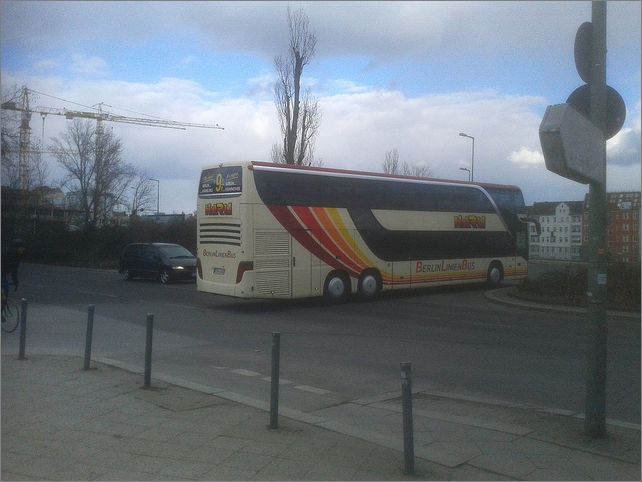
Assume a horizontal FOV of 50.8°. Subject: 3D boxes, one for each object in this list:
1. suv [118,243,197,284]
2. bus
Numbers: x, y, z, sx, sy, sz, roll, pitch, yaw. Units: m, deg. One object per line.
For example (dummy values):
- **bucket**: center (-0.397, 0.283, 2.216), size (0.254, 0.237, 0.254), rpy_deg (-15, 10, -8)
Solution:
- **suv**: center (-7.464, 0.972, 30.989), size (4.032, 1.731, 1.328), rpy_deg (3, 3, 35)
- **bus**: center (1.002, -0.311, 23.622), size (15.098, 4.792, 4.156), rpy_deg (-2, 2, -39)
